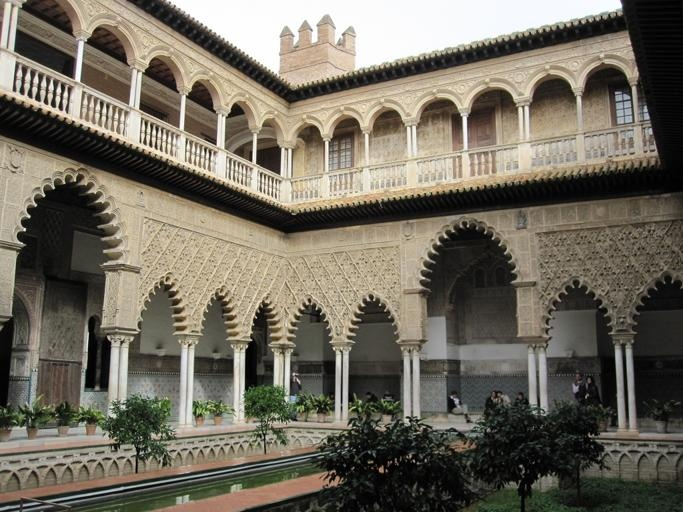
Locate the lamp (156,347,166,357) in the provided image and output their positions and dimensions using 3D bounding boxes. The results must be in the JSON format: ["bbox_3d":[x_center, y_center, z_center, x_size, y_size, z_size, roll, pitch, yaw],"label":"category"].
[{"bbox_3d":[-4.126,2.215,16.499,0.185,0.136,0.181,-11,-16,27],"label":"lamp"}]

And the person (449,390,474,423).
[{"bbox_3d":[2.891,3.625,17.465,0.479,0.696,0.971,1,-15,-5],"label":"person"}]

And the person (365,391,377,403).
[{"bbox_3d":[0.816,3.724,19.019,0.307,0.336,0.896,-1,-15,3],"label":"person"}]

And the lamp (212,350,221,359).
[{"bbox_3d":[-3.169,2.534,18.347,0.193,0.135,0.188,-4,-20,5],"label":"lamp"}]

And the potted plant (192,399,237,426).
[{"bbox_3d":[-2.715,3.245,15.007,0.805,0.383,0.806,-5,-20,26],"label":"potted plant"}]

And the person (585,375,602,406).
[{"bbox_3d":[4.916,2.631,14.061,0.258,0.679,1.368,-6,-16,18],"label":"person"}]

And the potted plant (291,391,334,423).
[{"bbox_3d":[-0.633,3.404,16.400,0.859,0.550,0.785,1,-31,1],"label":"potted plant"}]

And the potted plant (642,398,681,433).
[{"bbox_3d":[6.681,3.337,14.906,0.821,0.661,0.804,12,-17,-42],"label":"potted plant"}]
